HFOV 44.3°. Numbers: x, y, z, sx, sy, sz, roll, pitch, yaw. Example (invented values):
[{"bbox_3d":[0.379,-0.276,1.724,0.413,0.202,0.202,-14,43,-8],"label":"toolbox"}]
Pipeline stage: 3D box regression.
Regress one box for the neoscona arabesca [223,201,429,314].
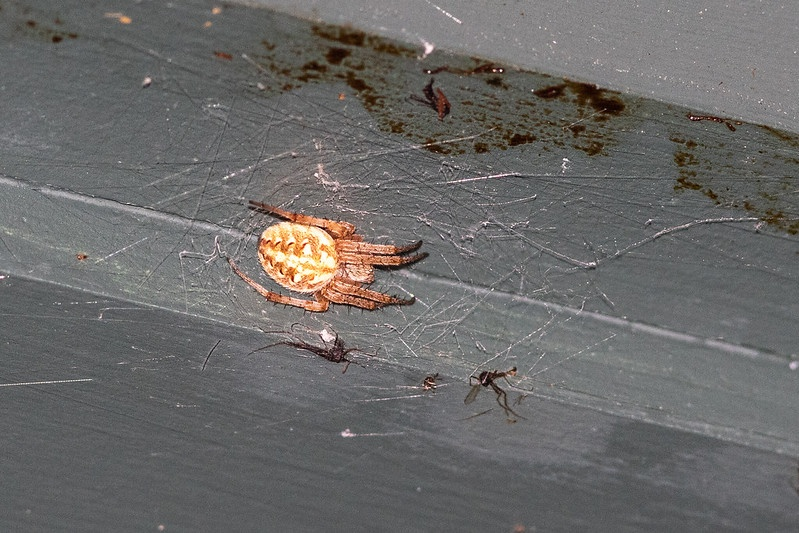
[{"bbox_3d":[-0.920,-0.077,12.895,2.368,0.672,1.114,12,100,2],"label":"neoscona arabesca"}]
